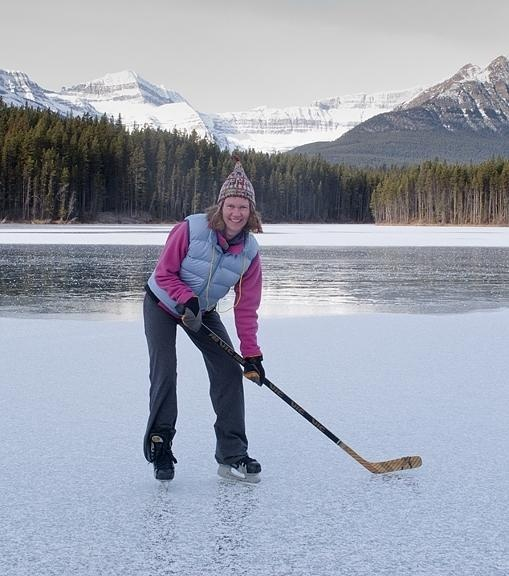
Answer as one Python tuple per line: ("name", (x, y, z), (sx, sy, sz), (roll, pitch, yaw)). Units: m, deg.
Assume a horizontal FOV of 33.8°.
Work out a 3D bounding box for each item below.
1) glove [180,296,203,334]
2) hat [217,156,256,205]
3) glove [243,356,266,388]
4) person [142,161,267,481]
("glove", (-0.350, 0.145, 4.674), (0.126, 0.174, 0.057), (-12, 13, -24))
("hat", (-0.095, -0.631, 4.875), (0.189, 0.259, 0.207), (5, -9, -9))
("glove", (-0.004, 0.509, 5.019), (0.133, 0.161, 0.072), (12, -24, -21))
("person", (-0.264, 0.180, 4.994), (0.765, 1.865, 0.755), (3, 6, 23))
